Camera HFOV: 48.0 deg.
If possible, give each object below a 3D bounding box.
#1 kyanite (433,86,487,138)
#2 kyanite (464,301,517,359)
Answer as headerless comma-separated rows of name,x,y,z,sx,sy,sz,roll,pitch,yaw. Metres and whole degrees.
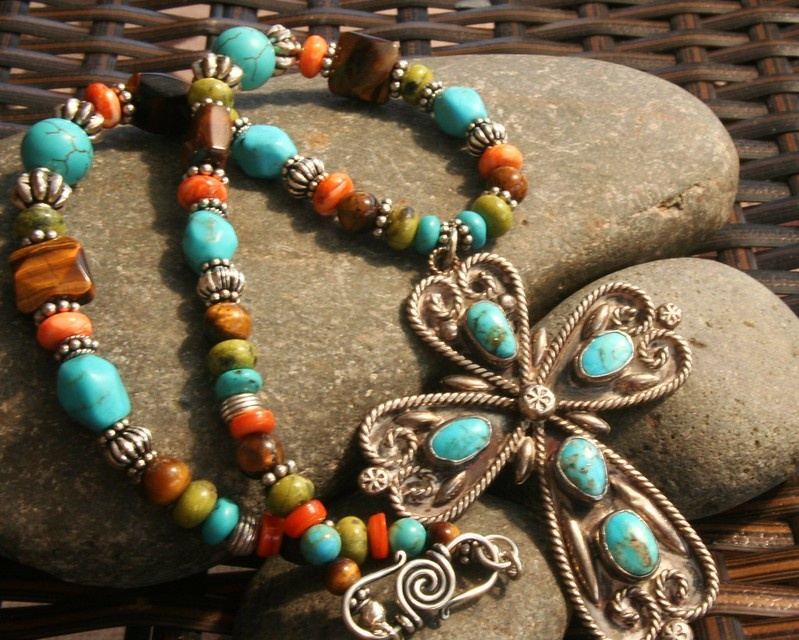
kyanite,0.124,-0.450,1.932,0.144,0.146,0.075,-5,94,-21
kyanite,0.176,0.019,1.745,0.128,0.040,0.106,-14,73,-22
